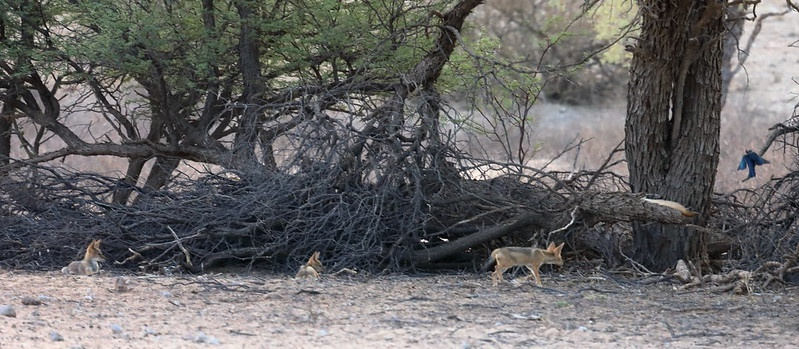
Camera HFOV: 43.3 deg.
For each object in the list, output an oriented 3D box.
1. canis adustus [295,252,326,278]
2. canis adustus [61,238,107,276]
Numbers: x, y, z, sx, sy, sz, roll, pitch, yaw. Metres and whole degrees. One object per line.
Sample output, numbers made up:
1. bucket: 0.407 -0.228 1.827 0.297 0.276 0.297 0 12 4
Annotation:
1. canis adustus: -2.874 2.997 32.955 0.923 0.854 0.475 5 -7 -25
2. canis adustus: -10.347 2.872 32.966 1.833 1.206 0.648 -10 -18 25
